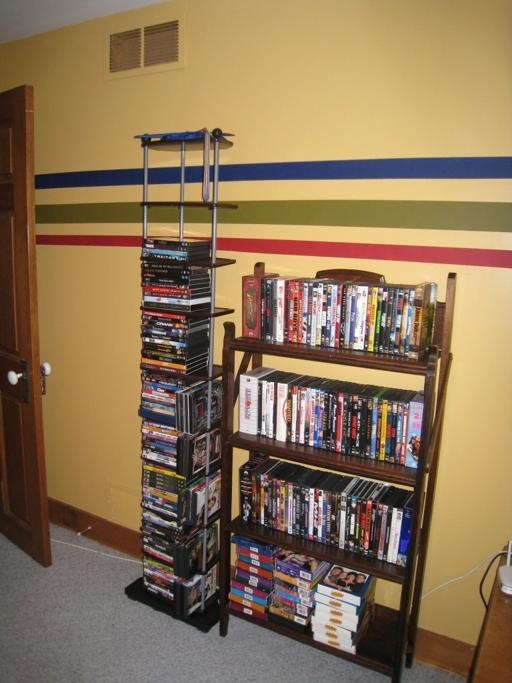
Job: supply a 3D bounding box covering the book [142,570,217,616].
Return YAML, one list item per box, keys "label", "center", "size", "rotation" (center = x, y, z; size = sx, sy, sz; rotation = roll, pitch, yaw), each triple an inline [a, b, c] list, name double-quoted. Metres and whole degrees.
- label: "book"
  center: [-0.373, 1.121, 2.590]
  size: [0.251, 0.104, 0.188]
  rotation: [15, 17, 40]

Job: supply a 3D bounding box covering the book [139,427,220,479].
- label: "book"
  center: [-0.334, 0.459, 2.406]
  size: [0.208, 0.091, 0.285]
  rotation: [10, 7, 11]

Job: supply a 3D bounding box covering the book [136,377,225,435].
- label: "book"
  center: [-0.335, 0.277, 2.407]
  size: [0.366, 0.230, 0.206]
  rotation: [1, 9, -6]

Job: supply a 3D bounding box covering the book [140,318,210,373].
- label: "book"
  center: [-0.345, 0.012, 2.382]
  size: [0.292, 0.236, 0.185]
  rotation: [0, 9, -13]

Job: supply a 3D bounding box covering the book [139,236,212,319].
- label: "book"
  center: [-0.323, -0.260, 2.425]
  size: [0.360, 0.371, 0.276]
  rotation: [7, 12, 34]

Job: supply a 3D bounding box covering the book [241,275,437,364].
- label: "book"
  center: [0.256, -0.096, 2.001]
  size: [0.706, 0.242, 0.040]
  rotation: [8, 10, 29]
